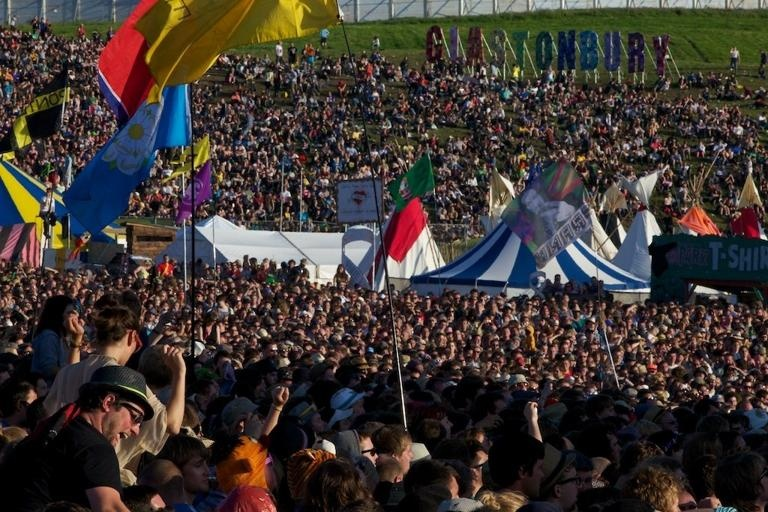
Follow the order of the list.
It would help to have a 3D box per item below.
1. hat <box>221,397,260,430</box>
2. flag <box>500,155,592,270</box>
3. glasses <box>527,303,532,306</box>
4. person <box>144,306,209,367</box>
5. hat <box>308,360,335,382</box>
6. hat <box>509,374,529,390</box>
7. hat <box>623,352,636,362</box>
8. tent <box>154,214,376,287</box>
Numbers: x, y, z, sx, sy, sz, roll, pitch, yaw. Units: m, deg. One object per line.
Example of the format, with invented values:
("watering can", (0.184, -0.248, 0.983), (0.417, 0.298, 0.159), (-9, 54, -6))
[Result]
("hat", (-2.838, 3.027, 30.166), (0.653, 0.299, 0.510), (-35, 3, -18))
("flag", (4.291, -1.114, 39.487), (2.326, 2.267, 0.555), (5, 3, 35))
("glasses", (3.979, 1.281, 41.748), (0.063, 0.063, 0.183), (4, 2, 7))
("person", (-4.272, 1.699, 31.357), (1.067, 0.682, 0.734), (-1, -1, 21))
("hat", (-1.291, 2.401, 32.273), (0.387, 0.459, 0.328), (7, -6, -5))
("hat", (2.925, 2.684, 33.185), (0.320, 0.368, 0.290), (-5, 2, -11))
("hat", (5.915, 2.369, 36.680), (0.191, 0.231, 0.180), (5, 6, -33))
("tent", (-3.930, -0.364, 50.906), (4.340, 1.608, 3.191), (10, -9, -27))
